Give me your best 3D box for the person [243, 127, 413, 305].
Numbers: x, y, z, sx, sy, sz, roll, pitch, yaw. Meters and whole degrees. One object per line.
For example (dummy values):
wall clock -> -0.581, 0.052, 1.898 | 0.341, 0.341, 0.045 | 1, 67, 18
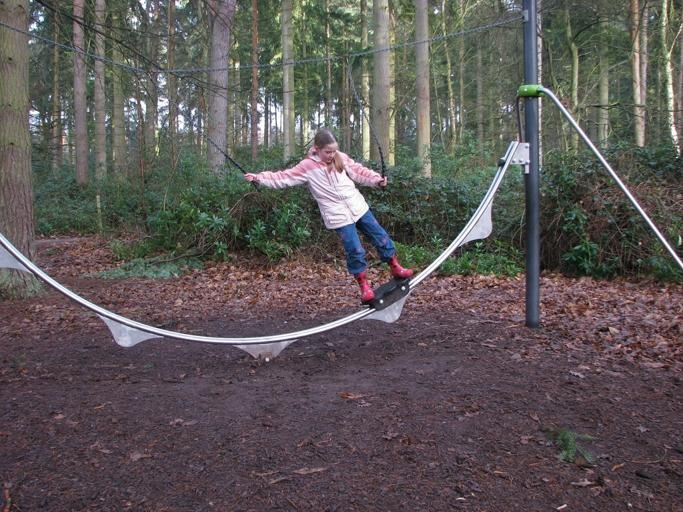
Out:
person -> 0.020, -0.422, 7.451 | 1.563, 1.998, 0.723 | 3, 15, 18
